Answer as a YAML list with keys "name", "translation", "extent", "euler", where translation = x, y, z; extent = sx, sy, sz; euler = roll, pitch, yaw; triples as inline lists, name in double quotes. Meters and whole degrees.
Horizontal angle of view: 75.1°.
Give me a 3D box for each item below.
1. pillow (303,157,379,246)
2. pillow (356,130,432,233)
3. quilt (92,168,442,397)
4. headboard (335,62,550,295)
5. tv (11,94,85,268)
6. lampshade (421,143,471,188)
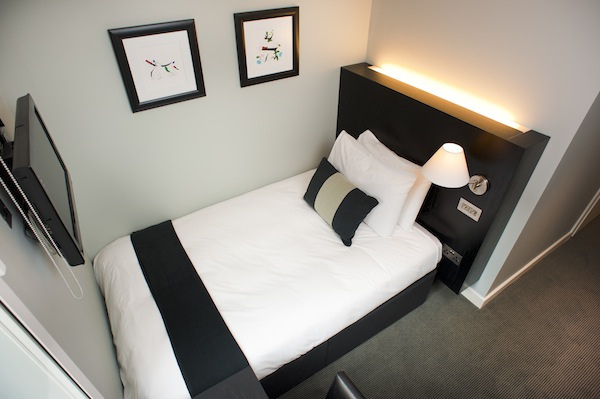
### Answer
- name: "pillow"
  translation: [0.328, 0.027, 3.631]
  extent: [0.350, 0.401, 0.845]
  euler: [-27, 48, -17]
- name: "pillow"
  translation: [0.641, -0.178, 3.711]
  extent: [0.329, 0.649, 0.931]
  euler: [-34, 53, -25]
- name: "quilt"
  translation: [-0.204, 0.630, 3.265]
  extent: [2.483, 0.592, 1.472]
  euler: [-23, 59, -17]
- name: "headboard"
  translation: [1.202, -0.094, 3.539]
  extent: [0.913, 1.962, 1.706]
  euler: [-15, 37, -32]
- name: "tv"
  translation: [-1.555, -0.045, 2.422]
  extent: [0.171, 0.963, 0.712]
  euler: [-15, 33, -24]
- name: "lampshade"
  translation: [1.177, -0.250, 3.128]
  extent: [0.291, 0.375, 0.304]
  euler: [-11, 36, -30]
